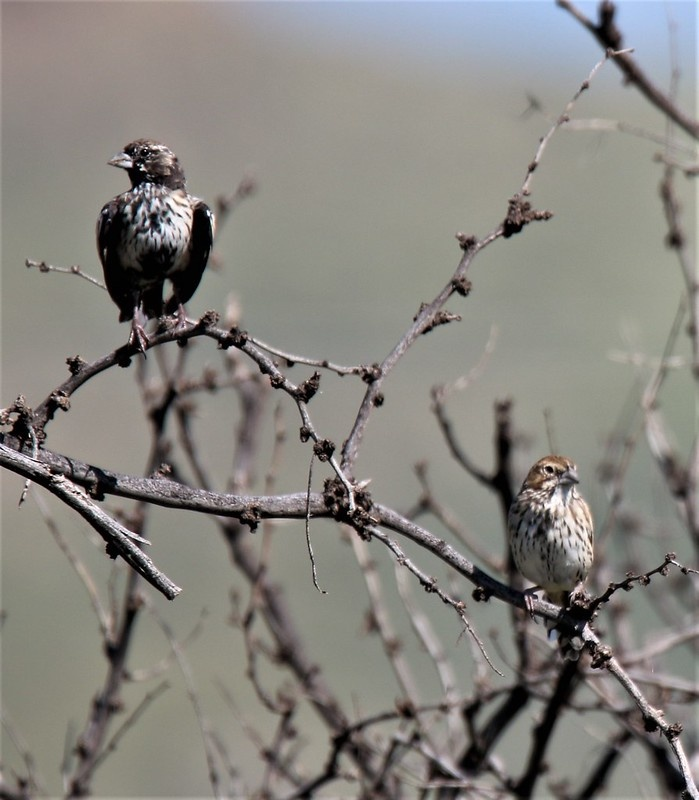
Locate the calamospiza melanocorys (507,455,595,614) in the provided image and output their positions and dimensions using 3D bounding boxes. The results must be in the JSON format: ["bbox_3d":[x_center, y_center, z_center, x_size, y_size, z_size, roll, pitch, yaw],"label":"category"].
[{"bbox_3d":[0.889,0.557,5.194,0.325,0.708,0.656,0,-93,5],"label":"calamospiza melanocorys"}]
